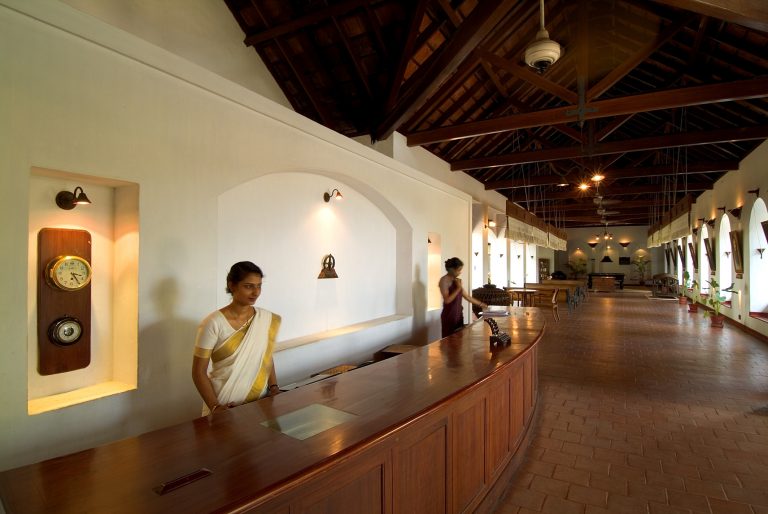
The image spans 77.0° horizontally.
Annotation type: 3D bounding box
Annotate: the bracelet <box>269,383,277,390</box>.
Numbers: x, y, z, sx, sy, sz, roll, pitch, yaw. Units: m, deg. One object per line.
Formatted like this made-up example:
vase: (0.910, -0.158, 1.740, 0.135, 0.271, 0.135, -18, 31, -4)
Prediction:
bracelet: (-1.153, 1.345, 5.046, 0.106, 0.045, 0.038, -9, -11, 29)

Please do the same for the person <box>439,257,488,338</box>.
person: (1.277, 0.966, 8.187, 0.694, 1.827, 0.567, -6, 12, -23)

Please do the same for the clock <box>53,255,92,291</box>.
clock: (-3.263, 0.162, 5.021, 0.105, 0.403, 0.354, -2, -2, 31)

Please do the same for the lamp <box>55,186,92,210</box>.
lamp: (-3.242, -0.597, 5.060, 0.256, 0.235, 0.218, -3, -2, 13)

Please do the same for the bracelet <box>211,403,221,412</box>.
bracelet: (-1.581, 1.422, 4.544, 0.080, 0.049, 0.110, -8, 14, -35)

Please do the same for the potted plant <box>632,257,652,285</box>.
potted plant: (15.081, 0.728, 28.169, 0.853, 1.534, 0.589, 1, 11, 4)

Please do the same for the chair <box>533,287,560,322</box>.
chair: (5.351, 1.558, 15.964, 0.686, 1.058, 0.656, 4, -5, 21)

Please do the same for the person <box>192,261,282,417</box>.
person: (-1.459, 0.747, 4.753, 0.357, 1.349, 0.825, 10, 14, 42)
